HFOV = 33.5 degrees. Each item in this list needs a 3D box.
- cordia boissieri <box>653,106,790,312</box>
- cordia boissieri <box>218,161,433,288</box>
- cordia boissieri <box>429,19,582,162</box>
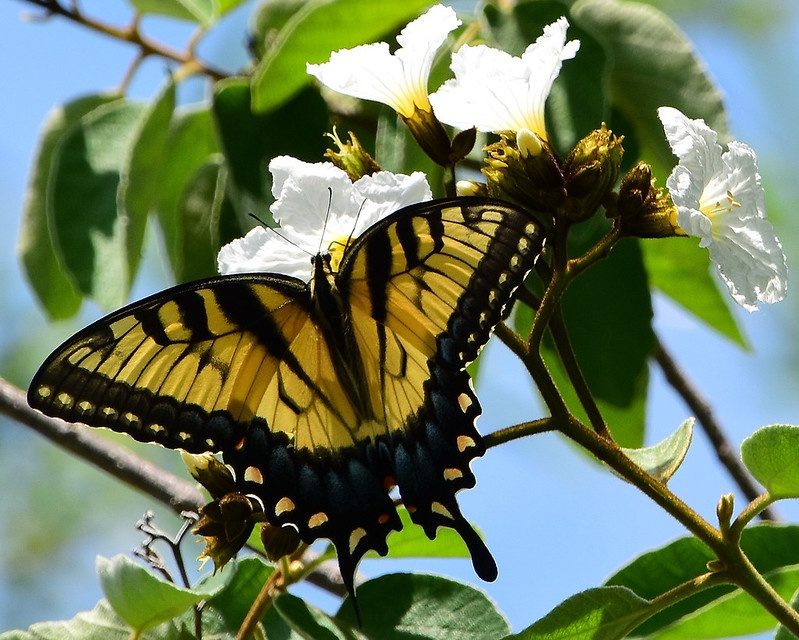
[{"bbox_3d":[0.560,-0.206,2.305,0.238,0.326,0.144,18,-48,-44],"label":"cordia boissieri"},{"bbox_3d":[-0.129,-0.237,2.399,0.277,0.287,0.264,-12,-73,-40],"label":"cordia boissieri"},{"bbox_3d":[0.179,-0.409,2.332,0.227,0.261,0.121,-7,-16,-8],"label":"cordia boissieri"}]
